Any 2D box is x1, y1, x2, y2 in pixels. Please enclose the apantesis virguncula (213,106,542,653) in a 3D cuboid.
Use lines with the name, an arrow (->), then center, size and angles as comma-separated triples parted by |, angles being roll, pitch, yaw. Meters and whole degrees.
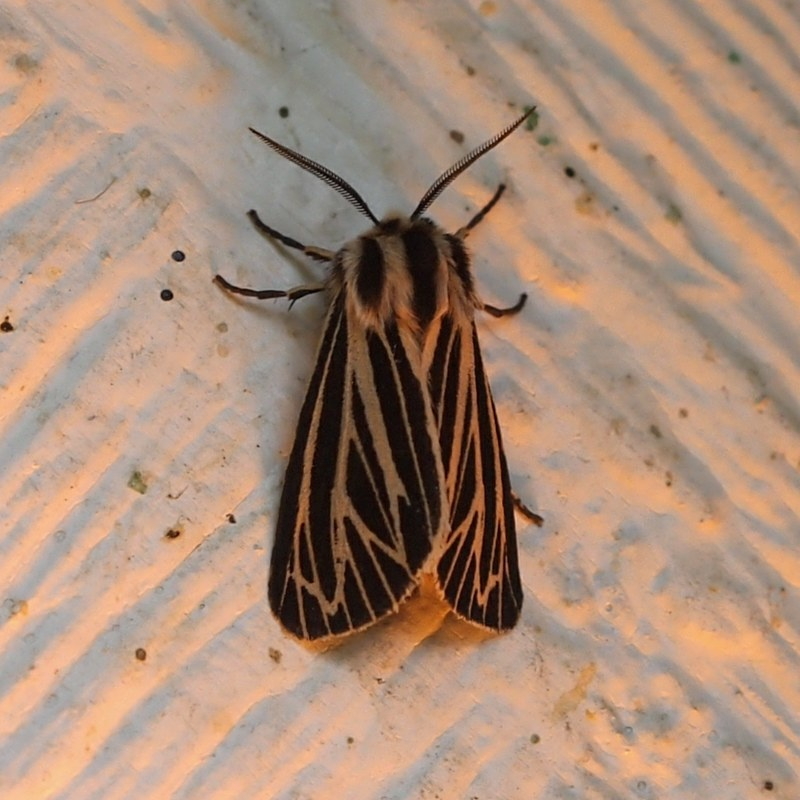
apantesis virguncula -> -0.016, -0.020, 4.483 | 1.319, 0.563, 1.708 | 0, 93, -7
